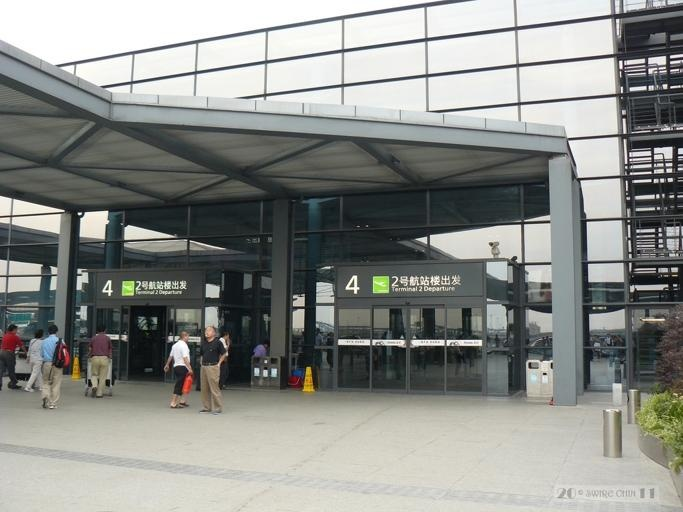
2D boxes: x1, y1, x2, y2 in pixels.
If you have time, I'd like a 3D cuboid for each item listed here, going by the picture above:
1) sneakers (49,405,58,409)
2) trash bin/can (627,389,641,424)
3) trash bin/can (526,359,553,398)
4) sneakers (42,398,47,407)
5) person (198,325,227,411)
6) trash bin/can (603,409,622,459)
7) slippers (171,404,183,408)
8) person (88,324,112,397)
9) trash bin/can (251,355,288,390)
[{"bbox_3d":[-7.909,4.148,17.899,0.192,0.074,0.062,-1,-7,19],"label":"sneakers"},{"bbox_3d":[7.131,3.687,15.938,0.276,0.787,0.435,-4,-7,22],"label":"trash bin/can"},{"bbox_3d":[6.449,4.011,21.270,0.822,1.167,0.913,-3,-7,15],"label":"trash bin/can"},{"bbox_3d":[-8.070,4.007,17.778,0.119,0.260,0.157,1,-7,-20],"label":"sneakers"},{"bbox_3d":[-3.535,3.119,17.967,0.701,2.259,1.385,0,-7,-10],"label":"person"},{"bbox_3d":[5.197,3.409,12.490,0.380,0.829,0.360,2,-11,5],"label":"trash bin/can"},{"bbox_3d":[-4.677,4.241,18.392,0.212,0.058,0.107,-1,-3,10],"label":"slippers"},{"bbox_3d":[-7.654,3.431,20.697,0.640,2.034,0.511,1,-7,-19],"label":"person"},{"bbox_3d":[-2.661,4.256,23.652,1.195,1.022,1.156,-1,-8,17],"label":"trash bin/can"}]
